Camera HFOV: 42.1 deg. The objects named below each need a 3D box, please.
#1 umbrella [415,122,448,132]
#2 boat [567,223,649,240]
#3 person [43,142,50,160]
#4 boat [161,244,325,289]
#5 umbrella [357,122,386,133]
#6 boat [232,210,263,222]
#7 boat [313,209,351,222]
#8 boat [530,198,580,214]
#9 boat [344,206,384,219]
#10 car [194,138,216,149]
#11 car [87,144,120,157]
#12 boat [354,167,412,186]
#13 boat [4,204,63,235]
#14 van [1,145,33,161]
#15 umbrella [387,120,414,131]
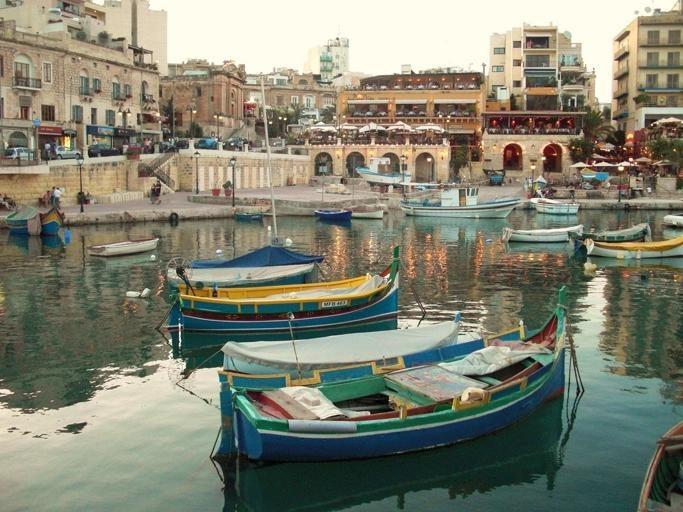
[{"bbox_3d":[9.397,-13.559,93.109,2.776,1.175,3.901,-2,4,9],"label":"umbrella"},{"bbox_3d":[15.649,-1.213,50.483,5.390,1.129,1.690,-2,0,-12],"label":"boat"},{"bbox_3d":[-20.788,-7.366,62.551,0.447,1.388,4.026,-5,5,-17],"label":"person"},{"bbox_3d":[-3.905,0.655,35.244,6.193,1.961,2.080,-2,4,-12],"label":"boat"},{"bbox_3d":[3.310,-13.898,95.397,2.363,1.007,2.226,-2,1,-5],"label":"umbrella"},{"bbox_3d":[-6.779,-2.859,64.806,2.116,0.794,2.263,-3,4,-6],"label":"boat"},{"bbox_3d":[-0.690,-2.993,66.572,2.762,0.684,1.131,0,8,23],"label":"boat"},{"bbox_3d":[16.718,-3.876,69.355,1.308,1.405,3.526,-6,5,-34],"label":"boat"},{"bbox_3d":[1.968,-3.353,68.775,2.490,1.054,1.651,-3,4,-5],"label":"boat"},{"bbox_3d":[-12.349,-10.396,80.953,1.921,0.585,1.180,-3,6,-30],"label":"car"},{"bbox_3d":[-18.592,-8.283,69.389,1.155,0.695,2.541,4,8,35],"label":"car"},{"bbox_3d":[4.188,-7.761,87.281,5.856,1.922,2.177,4,3,21],"label":"boat"},{"bbox_3d":[-18.671,-2.080,53.758,1.538,1.319,4.307,-5,1,-43],"label":"boat"},{"bbox_3d":[-21.912,-6.911,60.110,1.914,0.948,1.240,-7,16,-18],"label":"van"},{"bbox_3d":[6.248,-14.199,95.881,2.374,0.976,2.249,0,3,2],"label":"umbrella"}]
